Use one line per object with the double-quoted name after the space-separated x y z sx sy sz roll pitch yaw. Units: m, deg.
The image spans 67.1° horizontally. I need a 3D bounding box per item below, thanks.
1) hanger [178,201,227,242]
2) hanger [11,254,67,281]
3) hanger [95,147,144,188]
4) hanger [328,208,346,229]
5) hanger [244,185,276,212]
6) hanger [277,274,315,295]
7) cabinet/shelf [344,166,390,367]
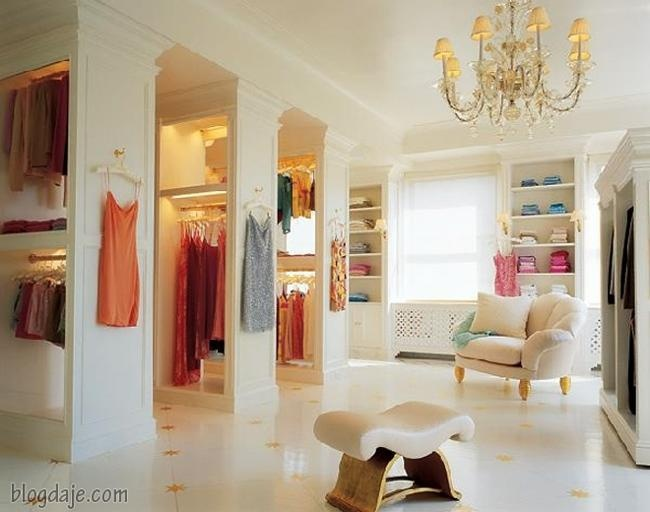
-1.299 -0.340 5.172 0.592 0.433 0.204 0 -3 13 "hanger"
-2.354 0.095 4.073 0.438 0.155 0.330 1 0 14 "hanger"
-1.600 -0.702 3.768 0.091 0.267 0.420 0 -3 23 "hanger"
0.151 -0.483 6.257 0.054 0.223 0.237 1 7 37 "hanger"
-0.666 -0.583 5.027 0.042 0.278 0.454 -1 -4 33 "hanger"
-0.362 0.357 6.234 0.370 0.159 0.276 0 -1 18 "hanger"
0.660 0.127 7.730 0.754 2.937 0.362 -1 -3 27 "cabinet/shelf"
